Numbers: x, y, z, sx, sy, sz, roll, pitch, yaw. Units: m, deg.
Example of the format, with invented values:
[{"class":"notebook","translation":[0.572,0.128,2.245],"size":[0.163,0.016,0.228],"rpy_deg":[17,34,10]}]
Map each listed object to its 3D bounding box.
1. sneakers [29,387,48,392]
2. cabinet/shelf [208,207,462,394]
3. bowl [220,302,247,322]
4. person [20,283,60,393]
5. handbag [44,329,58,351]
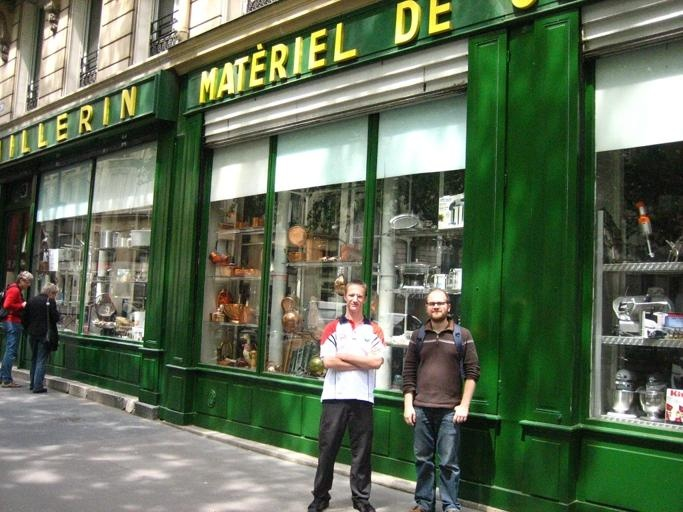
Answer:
[{"class":"sneakers","translation":[-5.062,2.251,11.009],"size":[0.275,0.125,0.102],"rpy_deg":[1,1,-7]},{"class":"cabinet/shelf","translation":[-0.006,0.533,7.729],"size":[2.293,2.071,0.815],"rpy_deg":[-3,-8,37]},{"class":"bowl","translation":[-1.502,0.792,9.199],"size":[0.250,0.186,0.257],"rpy_deg":[0,-7,0]},{"class":"person","translation":[-4.975,1.386,10.964],"size":[0.632,1.899,0.355],"rpy_deg":[-1,1,14]},{"class":"handbag","translation":[-4.802,1.403,10.905],"size":[0.177,0.354,0.171],"rpy_deg":[-2,1,-27]}]
